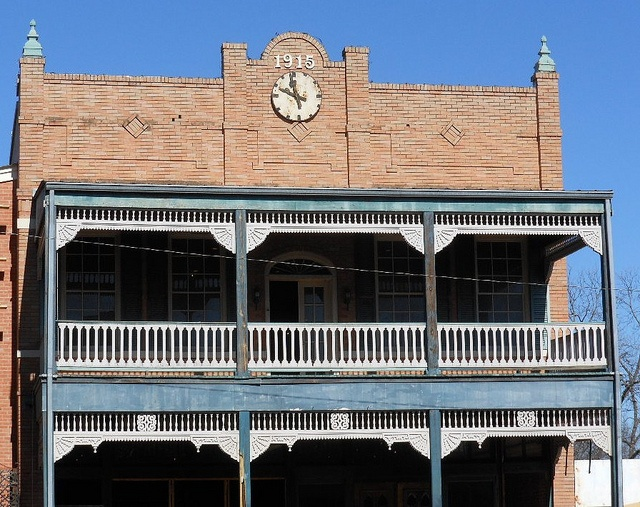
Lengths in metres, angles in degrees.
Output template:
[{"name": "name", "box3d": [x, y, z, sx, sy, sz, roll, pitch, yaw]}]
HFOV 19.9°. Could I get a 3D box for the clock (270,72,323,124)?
[{"name": "clock", "box3d": [-0.636, -3.515, 41.955, 0.993, 1.168, 0.113, 0, -7, -7]}]
